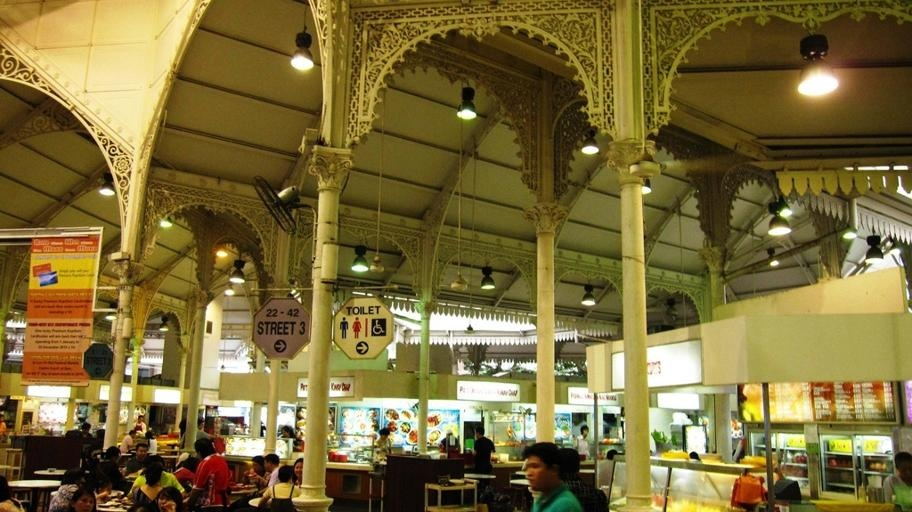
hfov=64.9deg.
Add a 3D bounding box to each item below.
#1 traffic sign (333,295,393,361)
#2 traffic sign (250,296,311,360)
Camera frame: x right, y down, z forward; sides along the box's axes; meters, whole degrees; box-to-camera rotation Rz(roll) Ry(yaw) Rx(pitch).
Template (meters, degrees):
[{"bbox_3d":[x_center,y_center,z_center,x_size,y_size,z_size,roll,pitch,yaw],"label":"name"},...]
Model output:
[{"bbox_3d":[-1.948,1.456,14.518,0.927,1.477,0.634,1,2,0],"label":"traffic sign"},{"bbox_3d":[-3.787,1.502,15.389,1.221,1.336,0.500,3,-17,-9],"label":"traffic sign"}]
